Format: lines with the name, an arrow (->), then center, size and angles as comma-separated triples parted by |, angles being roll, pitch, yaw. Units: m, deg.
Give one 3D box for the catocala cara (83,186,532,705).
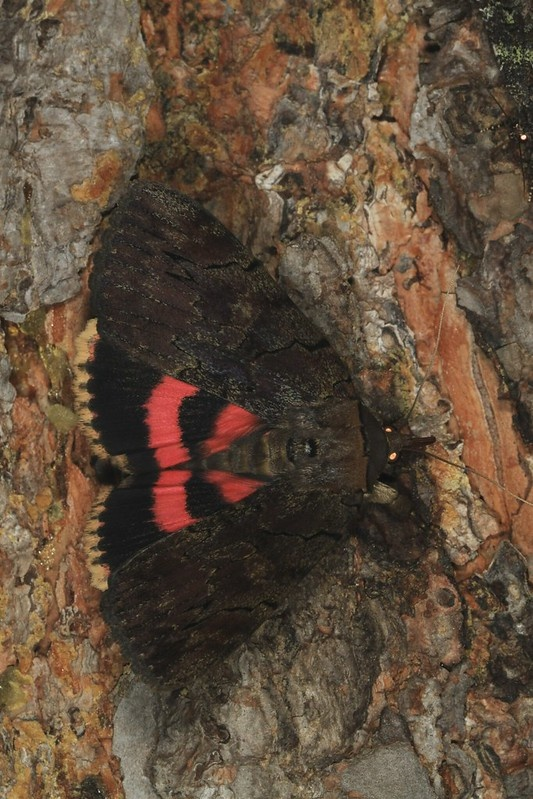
catocala cara -> -0.049, 0.157, 4.997 | 1.864, 0.594, 2.114 | -3, 101, 3
